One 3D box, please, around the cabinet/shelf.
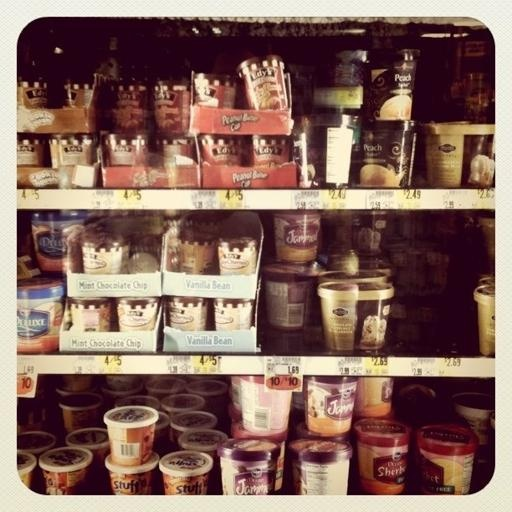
[{"bbox_3d":[0.004,0.068,1.935,1.592,0.519,0.434,0,4,4],"label":"cabinet/shelf"}]
